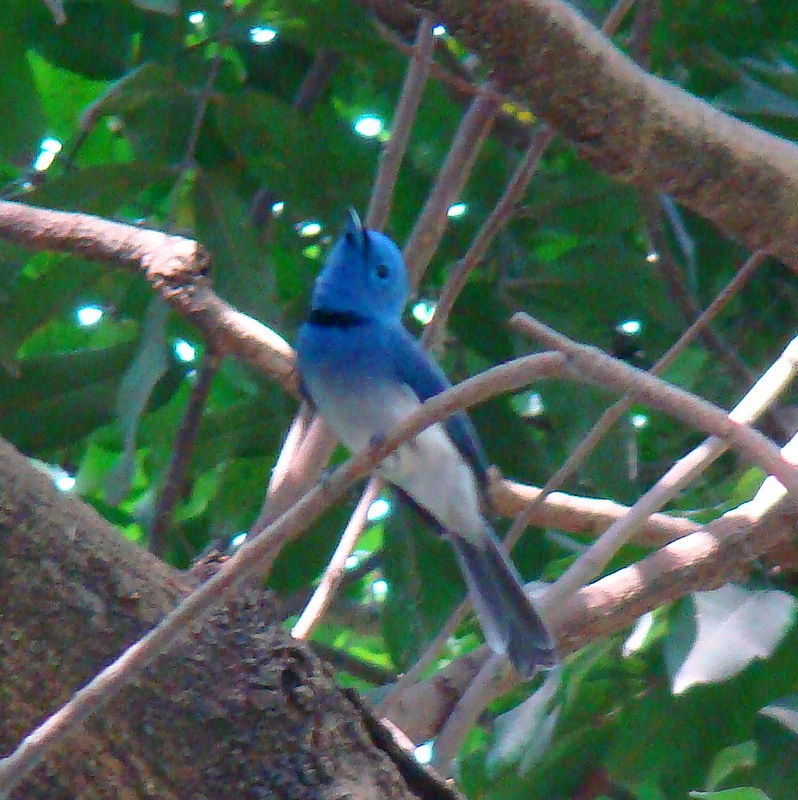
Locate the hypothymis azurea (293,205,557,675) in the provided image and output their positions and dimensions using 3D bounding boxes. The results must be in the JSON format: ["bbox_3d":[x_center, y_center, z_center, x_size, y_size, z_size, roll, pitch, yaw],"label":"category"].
[{"bbox_3d":[0.023,0.044,2.704,0.203,0.337,0.791,17,-31,43],"label":"hypothymis azurea"}]
